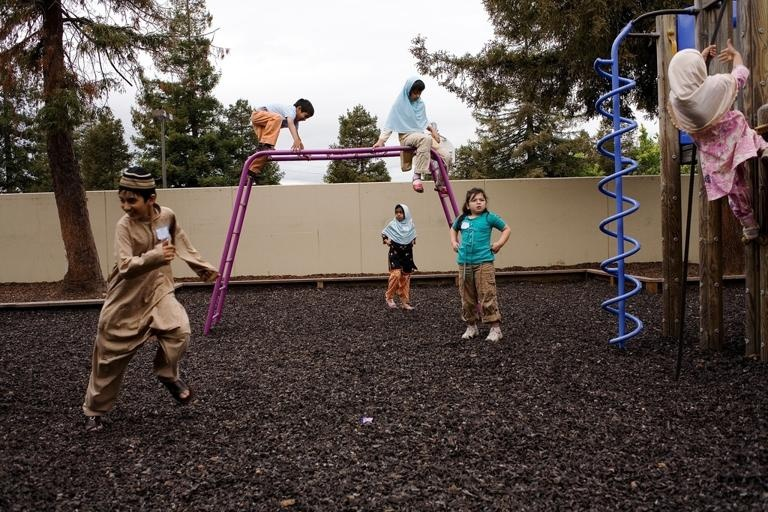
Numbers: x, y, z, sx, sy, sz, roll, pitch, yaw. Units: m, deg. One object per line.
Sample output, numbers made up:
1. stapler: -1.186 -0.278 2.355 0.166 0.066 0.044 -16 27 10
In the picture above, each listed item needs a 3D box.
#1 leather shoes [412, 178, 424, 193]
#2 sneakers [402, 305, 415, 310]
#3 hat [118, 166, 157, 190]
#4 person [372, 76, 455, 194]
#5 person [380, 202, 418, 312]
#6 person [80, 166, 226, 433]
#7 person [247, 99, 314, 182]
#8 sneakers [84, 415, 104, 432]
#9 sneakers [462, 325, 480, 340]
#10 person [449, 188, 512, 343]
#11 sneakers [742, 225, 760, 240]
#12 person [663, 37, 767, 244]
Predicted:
1. leather shoes: 0.435 -0.905 8.657 0.109 0.123 0.289 -3 18 -7
2. sneakers: 0.349 0.726 9.599 0.061 0.044 0.143 -49 17 -13
3. hat: -2.143 -0.672 5.902 0.284 0.206 0.214 -9 10 -40
4. person: 0.373 -1.530 8.601 0.963 1.404 0.431 -2 7 5
5. person: 0.220 -0.002 9.819 0.469 1.458 0.811 -3 7 0
6. person: -2.098 0.333 5.946 1.148 2.201 0.656 -6 8 -26
7. person: -1.343 -1.587 9.072 0.824 1.078 0.488 2 -3 -13
8. sneakers: -2.481 1.439 5.862 0.157 0.163 0.108 1 -3 -3
9. sneakers: 0.984 0.870 7.778 0.241 0.236 0.102 10 -9 -41
10. person: 1.055 0.094 7.594 0.759 1.672 0.382 3 9 40
11. sneakers: 3.456 -0.221 6.449 0.113 0.126 0.139 -5 -7 2
12. person: 2.991 -0.990 6.107 1.107 1.842 0.520 -6 8 -24
